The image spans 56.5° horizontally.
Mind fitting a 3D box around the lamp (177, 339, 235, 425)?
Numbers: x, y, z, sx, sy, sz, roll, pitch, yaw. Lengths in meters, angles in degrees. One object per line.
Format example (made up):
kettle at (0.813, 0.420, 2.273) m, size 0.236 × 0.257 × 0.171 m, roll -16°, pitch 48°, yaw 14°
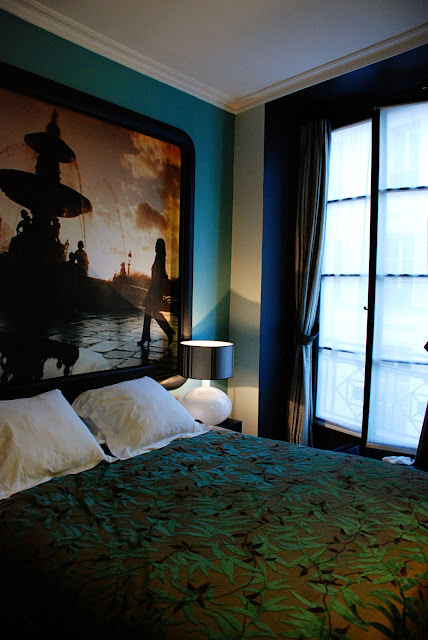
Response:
lamp at (-0.048, 0.415, 2.748) m, size 0.415 × 0.597 × 0.474 m, roll 1°, pitch 10°, yaw 0°
